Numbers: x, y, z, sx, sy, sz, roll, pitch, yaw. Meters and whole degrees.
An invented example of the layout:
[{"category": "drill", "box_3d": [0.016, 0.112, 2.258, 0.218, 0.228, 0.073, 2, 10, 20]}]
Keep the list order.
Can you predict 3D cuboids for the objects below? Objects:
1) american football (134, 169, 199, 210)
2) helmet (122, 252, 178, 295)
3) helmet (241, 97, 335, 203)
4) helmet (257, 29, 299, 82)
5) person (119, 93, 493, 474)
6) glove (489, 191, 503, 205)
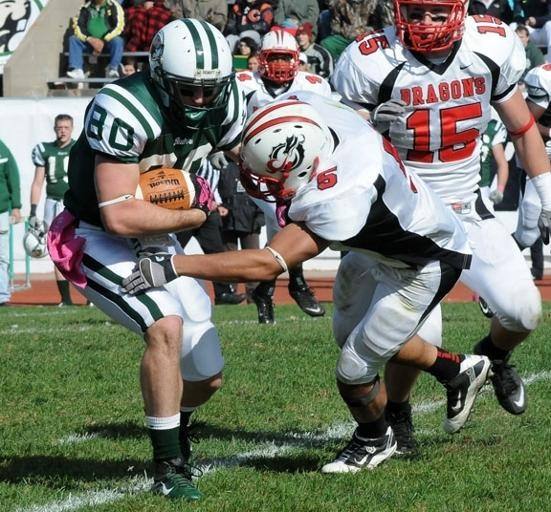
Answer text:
[{"category": "american football", "box_3d": [-0.460, -0.268, 2.773, 0.244, 0.119, 0.141, 5, 9, -26]}, {"category": "helmet", "box_3d": [-0.481, 0.069, 2.561, 0.237, 0.114, 0.080, -13, 13, 18]}, {"category": "helmet", "box_3d": [0.040, -0.399, 2.557, 0.357, 0.388, 0.268, -5, 7, -3]}, {"category": "helmet", "box_3d": [-0.059, -1.731, 5.939, 0.400, 0.373, 0.490, 0, 24, -3]}, {"category": "person", "box_3d": [0.228, 0.146, 2.727, 1.246, 1.601, 0.597, -9, 8, -36]}, {"category": "glove", "box_3d": [2.763, -0.737, 8.567, 0.197, 0.147, 0.129, 12, 40, 10]}]
